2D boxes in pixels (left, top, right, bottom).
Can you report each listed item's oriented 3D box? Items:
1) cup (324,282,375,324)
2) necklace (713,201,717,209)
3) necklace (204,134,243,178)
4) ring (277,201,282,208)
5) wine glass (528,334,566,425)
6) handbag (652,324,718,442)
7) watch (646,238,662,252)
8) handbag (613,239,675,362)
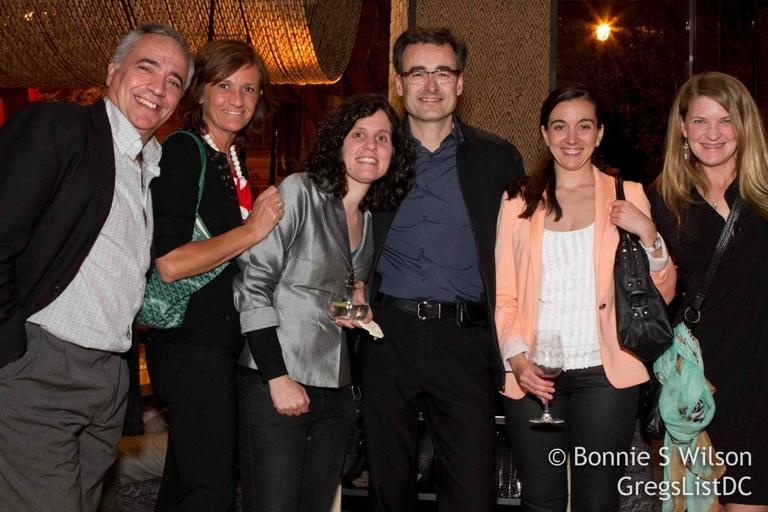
[{"bbox_3d":[-0.176,0.256,3.035,0.206,0.217,0.200,9,1,0],"label":"cup"},{"bbox_3d":[2.024,-0.311,3.551,0.012,0.050,0.012,0,-18,-6],"label":"necklace"},{"bbox_3d":[-0.970,-0.580,3.477,0.032,0.230,0.183,-36,-18,13],"label":"necklace"},{"bbox_3d":[-0.545,-0.267,3.000,0.011,0.027,0.023,6,3,26],"label":"ring"},{"bbox_3d":[0.879,0.675,3.167,0.182,0.528,0.283,-1,-6,14],"label":"wine glass"},{"bbox_3d":[1.718,0.713,3.396,0.228,0.624,0.422,-4,-7,-11],"label":"handbag"},{"bbox_3d":[1.518,-0.057,3.270,0.083,0.036,0.088,-22,17,30],"label":"watch"},{"bbox_3d":[1.377,0.276,3.117,0.238,0.715,0.189,-7,-10,28],"label":"handbag"}]
